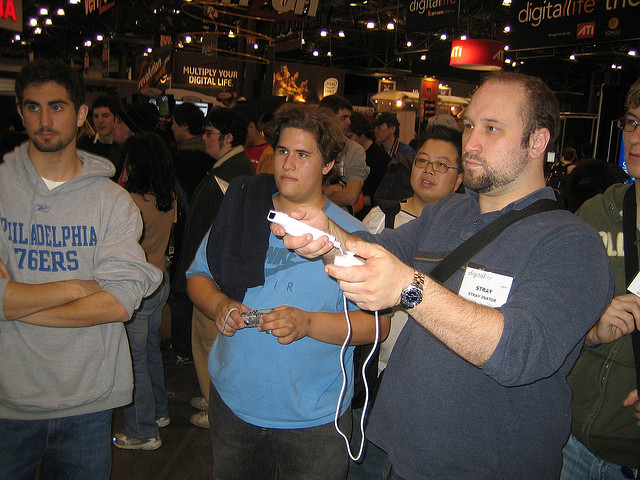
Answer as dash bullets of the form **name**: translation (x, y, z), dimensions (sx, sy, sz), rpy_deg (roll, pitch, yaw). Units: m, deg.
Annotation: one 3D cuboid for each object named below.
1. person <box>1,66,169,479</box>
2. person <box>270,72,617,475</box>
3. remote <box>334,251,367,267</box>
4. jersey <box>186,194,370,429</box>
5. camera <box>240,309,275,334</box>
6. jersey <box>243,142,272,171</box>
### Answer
- **person**: translation (-1.275, 0.338, 2.708), dimensions (0.729, 2.391, 0.641), rpy_deg (-3, 16, -19)
- **person**: translation (0.580, 0.162, 2.163), dimensions (1.112, 1.690, 0.826), rpy_deg (-2, 16, -15)
- **remote**: translation (0.100, 0.073, 1.849), dimensions (0.089, 0.055, 0.056), rpy_deg (0, 14, -16)
- **jersey**: translation (-0.281, 0.388, 2.887), dimensions (1.183, 1.234, 0.680), rpy_deg (4, -9, 10)
- **camera**: translation (-0.311, 0.387, 2.539), dimensions (0.172, 0.125, 0.081), rpy_deg (2, 15, -1)
- **jersey**: translation (-0.687, -0.896, 5.564), dimensions (0.223, 0.238, 0.608), rpy_deg (0, 15, -7)
